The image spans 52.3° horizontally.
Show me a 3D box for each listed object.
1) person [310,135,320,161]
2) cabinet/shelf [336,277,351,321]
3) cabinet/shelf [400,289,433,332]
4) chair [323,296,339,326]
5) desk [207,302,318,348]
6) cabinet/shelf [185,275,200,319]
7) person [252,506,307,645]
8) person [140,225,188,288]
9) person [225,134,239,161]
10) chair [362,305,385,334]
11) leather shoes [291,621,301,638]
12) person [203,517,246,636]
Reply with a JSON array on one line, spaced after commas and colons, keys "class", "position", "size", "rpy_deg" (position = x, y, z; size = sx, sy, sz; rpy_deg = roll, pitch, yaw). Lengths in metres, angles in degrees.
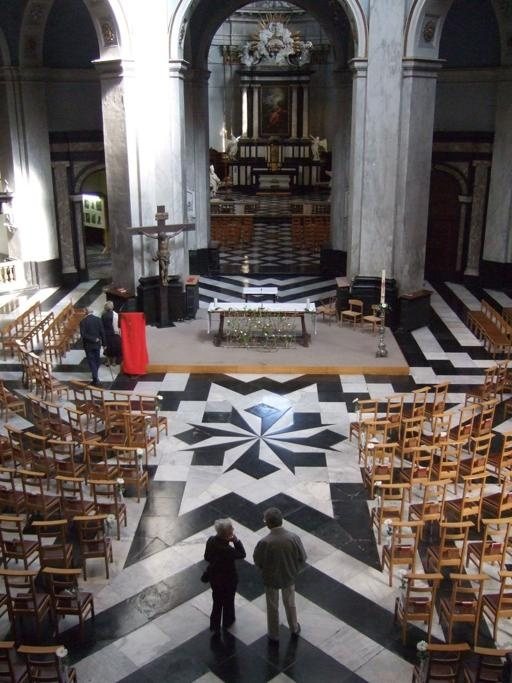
[{"class": "person", "position": [3.162, -10.414, 28.173], "size": [0.541, 1.241, 0.316], "rpy_deg": [4, 11, 17]}, {"class": "cabinet/shelf", "position": [1.954, -0.935, 11.674], "size": [0.305, 0.825, 0.821], "rpy_deg": [2, 16, 2]}, {"class": "cabinet/shelf", "position": [3.431, -0.666, 11.302], "size": [0.769, 0.692, 0.324], "rpy_deg": [-13, 21, -36]}, {"class": "chair", "position": [1.676, -0.717, 11.846], "size": [0.349, 0.475, 1.344], "rpy_deg": [2, 11, 7]}, {"class": "desk", "position": [0.122, -0.350, 10.633], "size": [2.261, 0.846, 0.727], "rpy_deg": [-1, 20, -5]}, {"class": "cabinet/shelf", "position": [-1.482, -1.002, 12.004], "size": [0.291, 0.843, 0.897], "rpy_deg": [0, 19, 1]}, {"class": "person", "position": [0.177, 1.566, 3.410], "size": [0.264, 0.945, 0.373], "rpy_deg": [8, 13, 32]}, {"class": "person", "position": [-1.908, -1.796, 10.892], "size": [0.886, 1.252, 0.515], "rpy_deg": [-4, 12, -23]}, {"class": "person", "position": [-1.261, -10.621, 28.472], "size": [0.659, 1.351, 1.167], "rpy_deg": [1, 11, -1]}, {"class": "chair", "position": [2.430, -0.452, 10.790], "size": [0.434, 0.649, 0.447], "rpy_deg": [-17, 24, -40]}, {"class": "leather shoes", "position": [0.269, 1.968, 3.541], "size": [0.039, 0.054, 0.120], "rpy_deg": [6, 36, 6]}, {"class": "person", "position": [-0.220, 1.554, 3.462], "size": [0.260, 0.772, 0.180], "rpy_deg": [2, 11, 2]}]
